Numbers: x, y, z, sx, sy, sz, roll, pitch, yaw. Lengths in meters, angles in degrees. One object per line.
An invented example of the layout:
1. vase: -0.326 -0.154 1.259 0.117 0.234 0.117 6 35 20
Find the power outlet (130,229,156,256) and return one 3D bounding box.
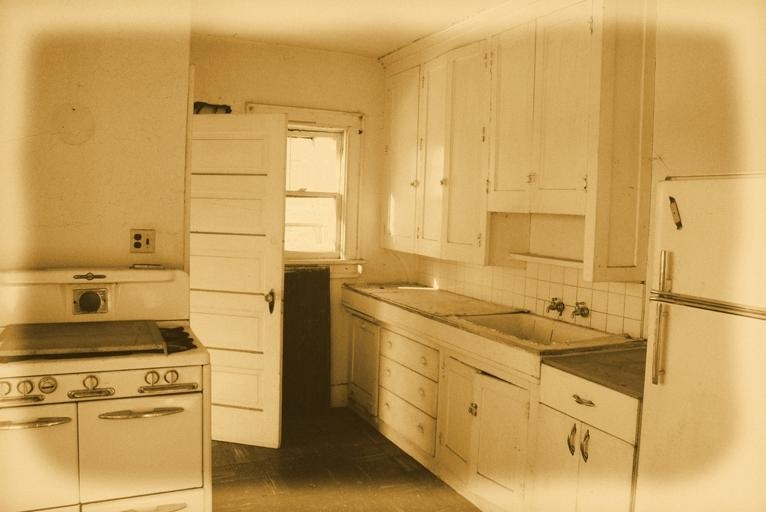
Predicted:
1. power outlet: -1.380 -0.079 3.879 0.140 0.137 0.132 -2 -5 5

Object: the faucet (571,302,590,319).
1. faucet: 1.287 0.355 4.396 0.115 0.101 0.071 -6 1 10

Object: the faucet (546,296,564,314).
1. faucet: 1.168 0.336 4.519 0.101 0.117 0.044 8 -6 16
